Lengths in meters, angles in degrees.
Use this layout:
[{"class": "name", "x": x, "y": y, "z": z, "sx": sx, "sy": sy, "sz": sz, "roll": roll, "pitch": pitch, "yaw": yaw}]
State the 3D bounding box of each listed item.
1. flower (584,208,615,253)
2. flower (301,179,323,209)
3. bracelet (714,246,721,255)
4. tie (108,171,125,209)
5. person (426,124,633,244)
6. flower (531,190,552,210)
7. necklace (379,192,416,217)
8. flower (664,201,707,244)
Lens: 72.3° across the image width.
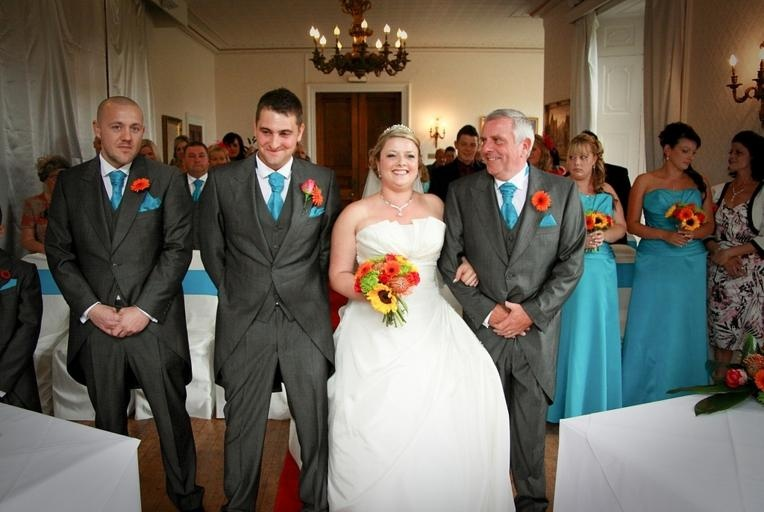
[{"class": "flower", "x": 1.624, "y": -0.198, "z": 3.955, "sx": 0.220, "sy": 0.243, "sz": 0.233, "roll": -15, "pitch": 26, "yaw": 31}, {"class": "flower", "x": -0.406, "y": -0.363, "z": 3.058, "sx": 0.106, "sy": 0.169, "sz": 0.093, "roll": 5, "pitch": -12, "yaw": -30}, {"class": "bracelet", "x": 2.784, "y": -0.046, "z": 4.357, "sx": 0.052, "sy": 0.014, "sz": 0.054, "roll": 1, "pitch": 53, "yaw": 54}, {"class": "tie", "x": -1.593, "y": -0.408, "z": 3.147, "sx": 0.071, "sy": 0.249, "sz": 0.022, "roll": 1, "pitch": -9, "yaw": -6}, {"class": "person", "x": 1.229, "y": -0.564, "z": 4.079, "sx": 1.812, "sy": 0.455, "sz": 1.257, "roll": 0, "pitch": 3, "yaw": 0}, {"class": "flower", "x": 0.940, "y": -0.325, "z": 3.104, "sx": 0.104, "sy": 0.113, "sz": 0.043, "roll": 2, "pitch": -6, "yaw": -4}, {"class": "necklace", "x": 0.097, "y": -0.307, "z": 3.234, "sx": 0.157, "sy": 0.064, "sz": 0.131, "roll": -4, "pitch": 52, "yaw": -4}, {"class": "flower", "x": 2.395, "y": -0.279, "z": 4.141, "sx": 0.300, "sy": 0.282, "sz": 0.245, "roll": 2, "pitch": 12, "yaw": 15}]
